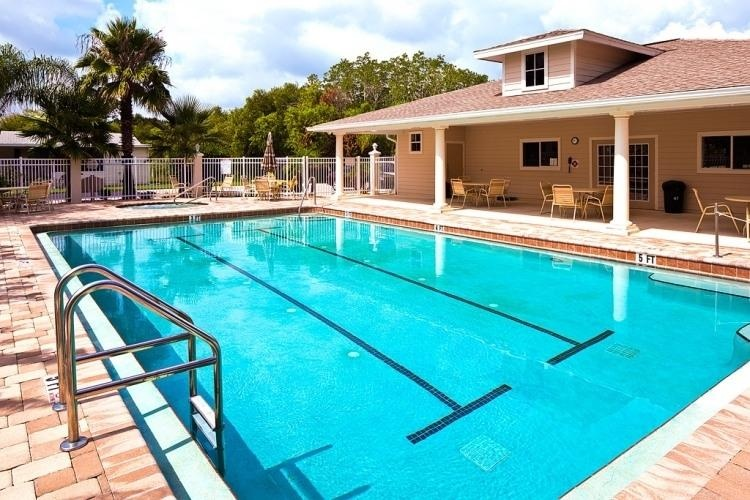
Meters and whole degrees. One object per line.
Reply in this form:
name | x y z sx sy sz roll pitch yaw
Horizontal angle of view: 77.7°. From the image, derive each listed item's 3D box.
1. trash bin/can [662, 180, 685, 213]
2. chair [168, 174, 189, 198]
trash bin/can | 9.495 -1.708 14.757 0.644 1.039 0.418 4 12 31
chair | -9.459 -3.087 22.474 0.697 1.126 2.449 -6 11 -21
